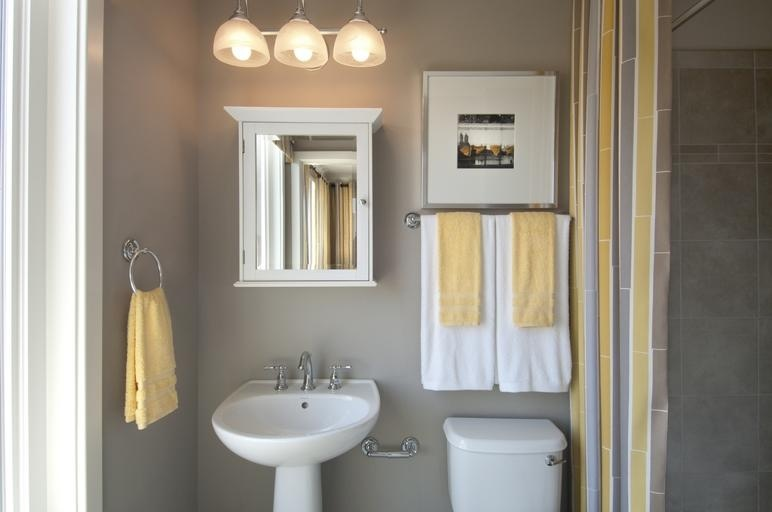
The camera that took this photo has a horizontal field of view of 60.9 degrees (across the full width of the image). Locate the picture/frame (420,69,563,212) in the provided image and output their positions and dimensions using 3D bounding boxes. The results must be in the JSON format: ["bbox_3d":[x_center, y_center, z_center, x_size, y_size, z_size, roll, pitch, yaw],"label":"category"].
[{"bbox_3d":[0.501,-0.559,3.132,0.670,0.626,0.024,0,-1,-2],"label":"picture/frame"}]

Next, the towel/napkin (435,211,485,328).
[{"bbox_3d":[0.337,0.065,3.045,0.207,0.523,0.038,1,-1,4],"label":"towel/napkin"}]

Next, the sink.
[{"bbox_3d":[-0.393,0.733,2.933,0.714,0.301,0.465,1,-1,-2],"label":"sink"}]

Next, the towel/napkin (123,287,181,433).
[{"bbox_3d":[-0.973,0.418,2.726,0.202,0.569,0.116,1,-1,-21],"label":"towel/napkin"}]

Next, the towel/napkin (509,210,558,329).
[{"bbox_3d":[0.674,0.061,3.036,0.190,0.514,0.038,1,-1,9],"label":"towel/napkin"}]
